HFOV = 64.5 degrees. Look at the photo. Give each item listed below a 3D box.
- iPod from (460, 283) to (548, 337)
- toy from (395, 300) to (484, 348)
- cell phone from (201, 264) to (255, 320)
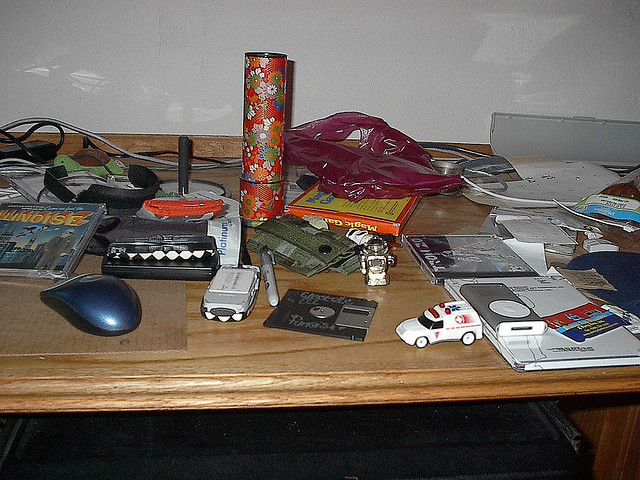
[{"bbox_3d":[0.223,0.085,0.629,0.103,0.043,0.112,0,11,-13],"label":"iPod"},{"bbox_3d":[0.142,0.102,0.600,0.115,0.035,0.042,-1,30,-4],"label":"toy"},{"bbox_3d":[-0.111,0.065,0.630,0.093,0.049,0.079,0,18,-5],"label":"cell phone"}]
